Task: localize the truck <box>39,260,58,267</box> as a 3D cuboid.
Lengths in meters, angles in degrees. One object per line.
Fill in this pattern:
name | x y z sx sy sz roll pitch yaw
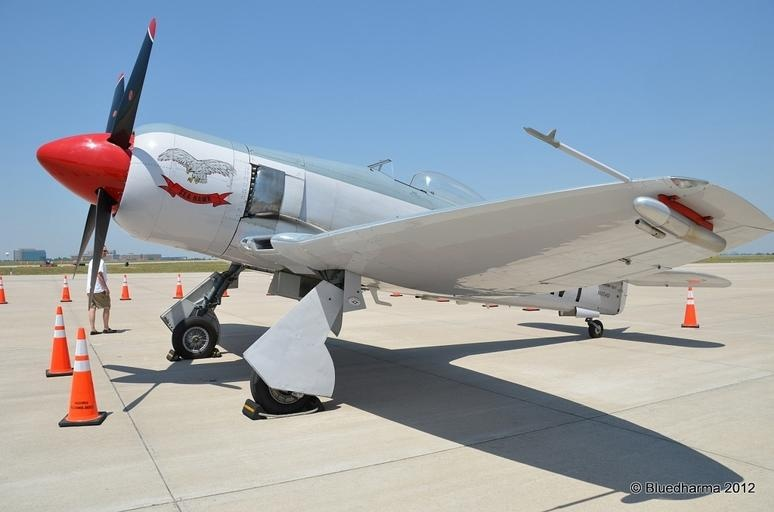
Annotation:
truck | -45.679 0.972 72.018 1.399 0.324 1.795 4 2 -40
